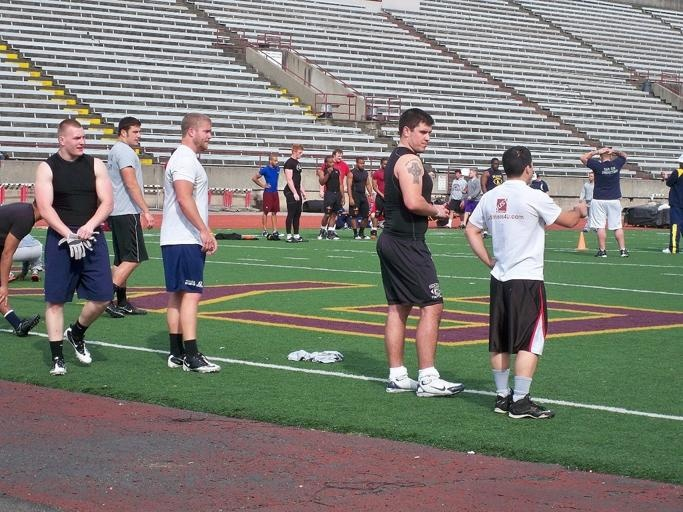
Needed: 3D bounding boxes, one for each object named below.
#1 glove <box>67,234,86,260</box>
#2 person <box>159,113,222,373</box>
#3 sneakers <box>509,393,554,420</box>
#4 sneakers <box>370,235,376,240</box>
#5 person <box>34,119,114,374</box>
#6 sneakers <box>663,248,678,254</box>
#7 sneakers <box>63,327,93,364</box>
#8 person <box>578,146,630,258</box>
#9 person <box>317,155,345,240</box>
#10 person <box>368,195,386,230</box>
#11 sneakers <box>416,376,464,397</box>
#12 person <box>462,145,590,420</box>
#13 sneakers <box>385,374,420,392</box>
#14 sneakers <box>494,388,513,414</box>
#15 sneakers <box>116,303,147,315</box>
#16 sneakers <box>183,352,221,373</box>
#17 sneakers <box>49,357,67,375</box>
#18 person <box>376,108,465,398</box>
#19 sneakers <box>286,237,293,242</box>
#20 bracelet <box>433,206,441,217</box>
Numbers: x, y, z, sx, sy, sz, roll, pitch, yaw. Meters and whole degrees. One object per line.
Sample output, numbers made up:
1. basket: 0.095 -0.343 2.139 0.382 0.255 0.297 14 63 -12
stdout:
1. glove: -2.179 -0.074 6.929 0.165 0.177 0.062 -2 8 -29
2. person: -1.294 -0.141 7.276 0.414 2.232 0.645 -2 6 -31
3. sneakers: 1.329 1.093 6.071 0.402 0.137 0.130 0 2 -1
4. sneakers: 0.837 -0.531 22.704 0.142 0.076 0.129 -2 -5 15
5. person: -2.260 -0.102 7.164 0.637 2.129 0.540 -2 6 -30
6. sneakers: 7.513 -0.123 19.374 0.131 0.132 0.364 -9 13 -42
7. sneakers: -2.415 0.821 7.658 0.148 0.316 0.112 -31 5 39
8. person: 5.684 -1.216 18.207 1.134 2.368 0.876 1 6 2
9. person: -0.287 -1.518 21.567 0.630 2.177 1.063 1 5 -1
10. person: 0.919 -1.218 24.018 0.407 1.040 0.328 2 10 -4
11. sneakers: 0.730 1.015 6.553 0.429 0.169 0.138 -1 1 1
12. person: 1.316 0.160 6.219 0.682 1.959 0.686 1 5 -7
13. sneakers: 0.463 1.016 6.676 0.309 0.112 0.107 -1 3 -16
14. sneakers: 1.167 1.073 6.131 0.081 0.079 0.214 0 4 31
15. sneakers: -2.465 0.618 9.832 0.341 0.109 0.121 1 1 -11
16. sneakers: -1.222 0.915 7.234 0.363 0.130 0.141 2 2 20
17. sneakers: -2.372 0.911 7.021 0.132 0.150 0.199 0 6 -17
18. person: 0.582 -0.038 6.560 0.563 2.241 0.543 0 5 -14
19. sneakers: -1.293 -0.427 20.609 0.124 0.124 0.325 -1 -2 -2
20. bracelet: 0.708 -0.353 6.337 0.031 0.068 0.058 -5 2 -4
